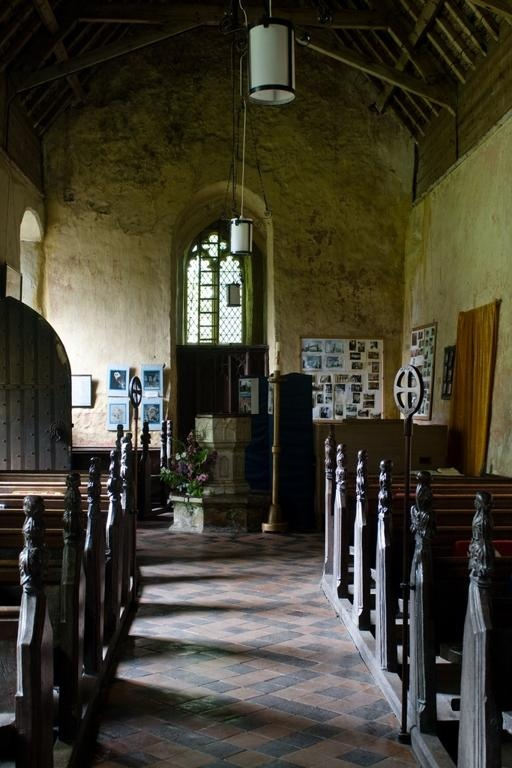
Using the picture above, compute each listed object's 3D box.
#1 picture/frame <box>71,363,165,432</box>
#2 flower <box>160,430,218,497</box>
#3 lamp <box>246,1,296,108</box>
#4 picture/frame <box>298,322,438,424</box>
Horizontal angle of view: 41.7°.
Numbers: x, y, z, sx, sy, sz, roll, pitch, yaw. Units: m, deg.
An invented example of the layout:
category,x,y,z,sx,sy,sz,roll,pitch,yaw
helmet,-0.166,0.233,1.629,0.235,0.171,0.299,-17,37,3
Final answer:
category,x,y,z,sx,sy,sz,roll,pitch,yaw
picture/frame,-2.311,0.219,11.485,1.464,1.160,0.275,1,-4,2
flower,-0.846,0.976,8.177,0.688,0.774,0.403,-3,-6,43
lamp,0.102,-2.241,4.649,0.301,0.560,0.281,-3,-6,40
picture/frame,2.026,-0.129,11.247,2.554,1.543,1.148,-3,-6,42
